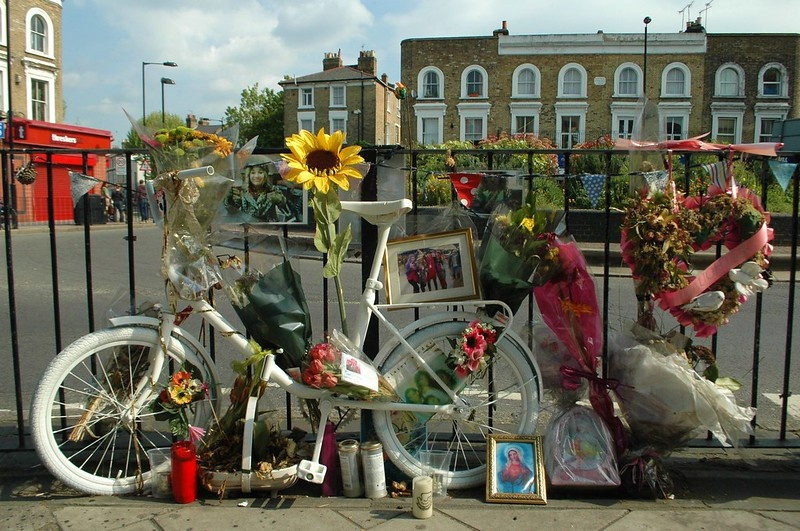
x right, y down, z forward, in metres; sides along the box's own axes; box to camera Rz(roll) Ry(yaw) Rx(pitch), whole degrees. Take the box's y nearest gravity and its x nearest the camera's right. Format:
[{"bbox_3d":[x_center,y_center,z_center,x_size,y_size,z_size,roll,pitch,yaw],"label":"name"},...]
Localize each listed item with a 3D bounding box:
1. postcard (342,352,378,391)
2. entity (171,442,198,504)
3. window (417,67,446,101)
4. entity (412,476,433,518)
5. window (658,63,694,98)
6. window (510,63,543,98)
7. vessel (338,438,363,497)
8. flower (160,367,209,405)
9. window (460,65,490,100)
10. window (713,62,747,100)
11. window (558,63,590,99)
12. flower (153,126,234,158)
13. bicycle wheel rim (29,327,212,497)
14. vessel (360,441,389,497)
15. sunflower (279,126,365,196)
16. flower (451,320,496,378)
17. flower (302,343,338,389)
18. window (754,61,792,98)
[{"bbox_3d":[-0.375,1.002,8.967,0.371,0.364,0.113,0,3,-13],"label":"postcard"},{"bbox_3d":[-2.032,1.939,8.955,0.246,0.542,0.190,0,3,-13],"label":"entity"},{"bbox_3d":[1.327,-7.588,39.586,1.307,1.842,0.224,1,0,-1],"label":"window"},{"bbox_3d":[0.223,2.144,8.836,0.225,0.355,0.174,0,3,-16],"label":"entity"},{"bbox_3d":[11.296,-7.558,38.784,1.356,1.708,0.244,1,2,7],"label":"window"},{"bbox_3d":[5.200,-7.631,39.173,1.290,1.644,0.140,1,1,4],"label":"window"},{"bbox_3d":[-0.473,1.920,9.031,0.232,0.505,0.155,3,4,37],"label":"vessel"},{"bbox_3d":[-2.052,1.159,8.978,0.333,0.338,0.163,-4,10,-17],"label":"flower"},{"bbox_3d":[3.109,-7.645,39.450,1.314,1.669,0.199,1,0,0],"label":"window"},{"bbox_3d":[13.469,-7.579,38.863,1.405,1.696,0.235,0,6,0],"label":"window"},{"bbox_3d":[7.140,-7.601,38.958,1.329,1.611,0.139,1,2,1],"label":"window"},{"bbox_3d":[-1.961,-1.165,8.964,0.411,0.190,0.427,6,6,27],"label":"flower"},{"bbox_3d":[-2.775,1.338,9.362,1.518,1.578,0.967,0,3,-13],"label":"bicycle wheel rim"},{"bbox_3d":[-0.248,1.929,9.012,0.262,0.512,0.154,0,3,-6],"label":"vessel"},{"bbox_3d":[-0.720,-0.982,9.011,0.759,0.607,0.459,0,3,-7],"label":"sunflower"},{"bbox_3d":[0.703,0.789,9.074,0.480,0.516,0.190,22,5,7],"label":"flower"},{"bbox_3d":[-0.742,0.950,8.931,0.370,0.400,0.179,9,-18,-20],"label":"flower"},{"bbox_3d":[15.205,-7.611,38.776,1.372,1.656,0.213,1,5,9],"label":"window"}]
